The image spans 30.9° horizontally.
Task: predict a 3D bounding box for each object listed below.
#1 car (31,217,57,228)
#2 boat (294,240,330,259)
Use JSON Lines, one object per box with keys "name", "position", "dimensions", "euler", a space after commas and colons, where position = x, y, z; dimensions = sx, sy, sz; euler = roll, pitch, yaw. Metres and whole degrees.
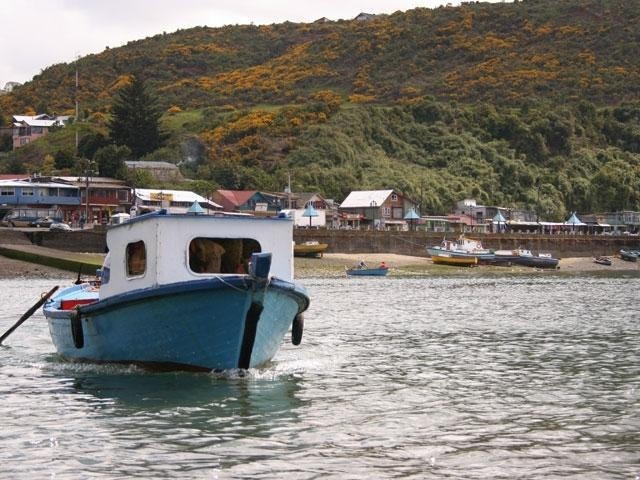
{"name": "car", "position": [-36.208, -2.129, 151.826], "dimensions": [2.723, 0.799, 1.570], "euler": [2, 0, -18]}
{"name": "boat", "position": [-0.661, 1.374, 151.437], "dimensions": [5.203, 1.505, 1.663], "euler": [-1, 0, 11]}
